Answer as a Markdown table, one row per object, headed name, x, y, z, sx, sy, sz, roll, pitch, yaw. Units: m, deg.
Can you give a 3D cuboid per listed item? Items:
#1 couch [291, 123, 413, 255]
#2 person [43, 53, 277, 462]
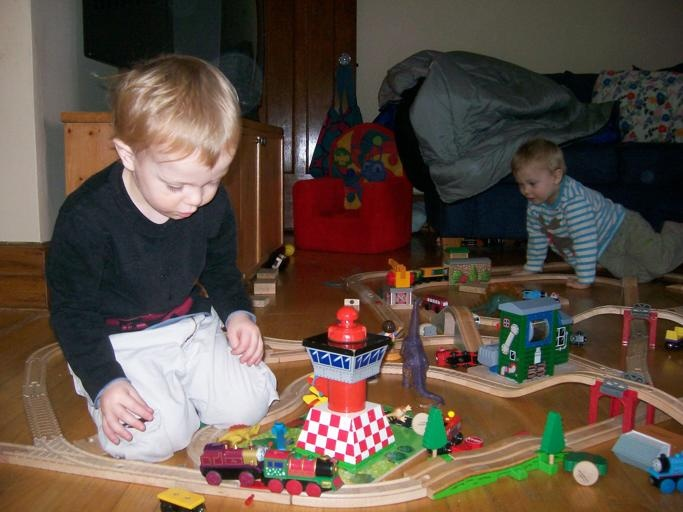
| name | x | y | z | sx | sy | sz | roll | pitch | yaw |
| --- | --- | --- | --- | --- | --- | --- | --- | --- | --- |
| couch | 0.073 | -0.469 | 3.884 | 0.780 | 0.831 | 0.794 | -10 | 14 | -34 |
| person | -0.448 | -0.003 | 1.410 | 0.494 | 0.888 | 0.591 | 21 | 30 | 23 |
